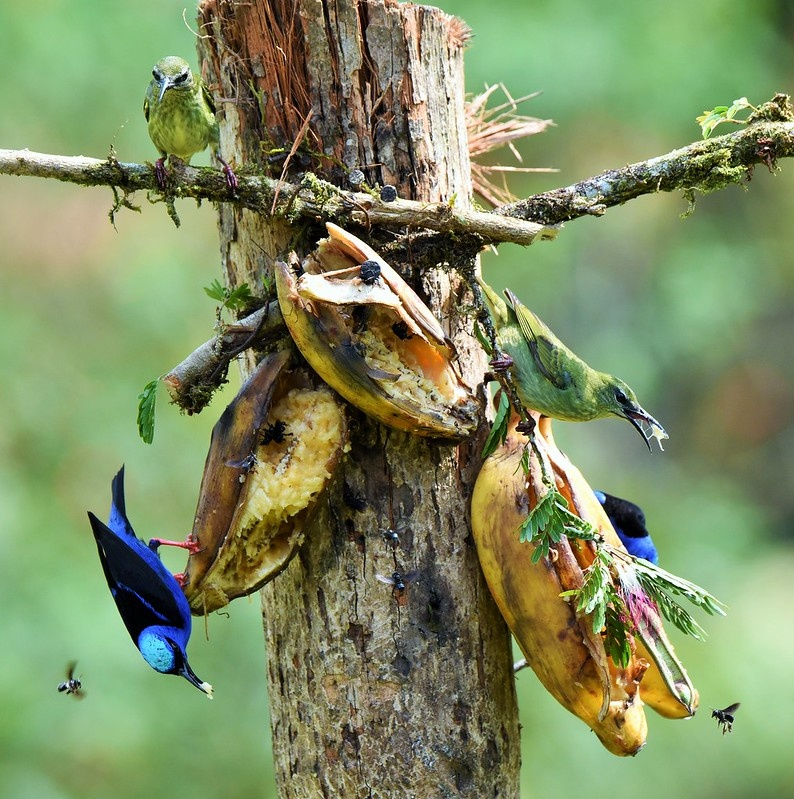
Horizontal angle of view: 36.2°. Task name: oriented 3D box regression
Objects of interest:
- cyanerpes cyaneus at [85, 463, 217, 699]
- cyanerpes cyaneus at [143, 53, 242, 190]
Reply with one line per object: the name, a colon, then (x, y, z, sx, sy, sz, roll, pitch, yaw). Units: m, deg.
cyanerpes cyaneus: (-0.437, 0.314, 2.037, 0.086, 0.203, 0.349, -12, -45, 20)
cyanerpes cyaneus: (-0.455, -0.670, 2.639, 0.160, 0.595, 0.305, -3, -59, -7)
